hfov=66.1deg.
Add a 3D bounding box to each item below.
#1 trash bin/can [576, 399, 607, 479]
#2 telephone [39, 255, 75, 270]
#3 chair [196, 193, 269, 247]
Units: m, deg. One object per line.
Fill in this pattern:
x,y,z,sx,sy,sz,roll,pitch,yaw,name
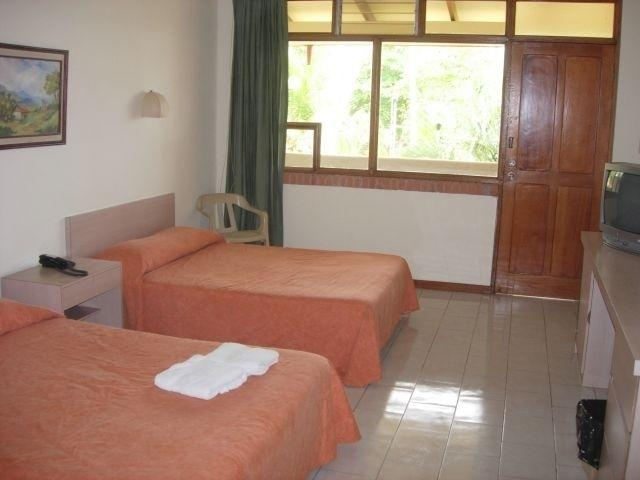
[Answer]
1.478,1.067,2.699,0.105,0.355,0.261,2,0,4,trash bin/can
-1.919,0.163,3.573,0.160,0.059,0.054,12,-19,7,telephone
-1.003,-0.044,5.594,0.672,0.905,0.660,-5,11,-37,chair
